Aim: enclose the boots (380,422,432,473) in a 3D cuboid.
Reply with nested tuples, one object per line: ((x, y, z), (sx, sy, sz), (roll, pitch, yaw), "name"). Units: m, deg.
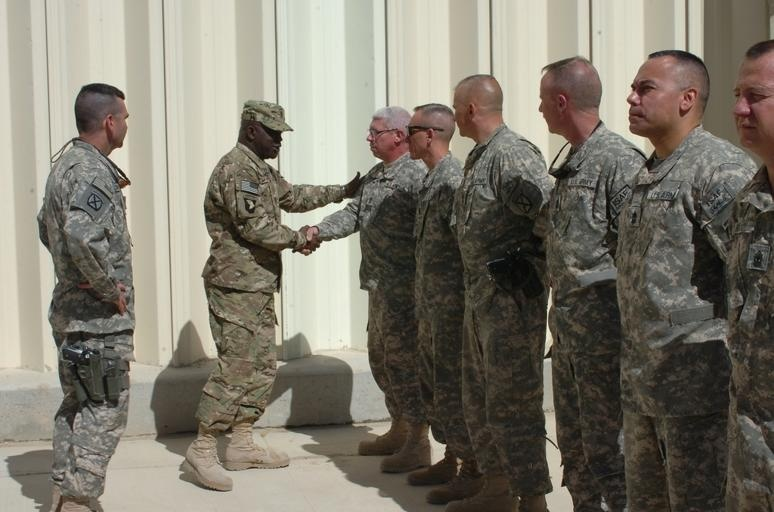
((0.155, 1.423, 8.241), (0.389, 0.376, 0.173), (-5, 2, -23), "boots")

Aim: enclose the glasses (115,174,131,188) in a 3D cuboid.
((-1.831, -0.514, 7.611), (0.110, 0.056, 0.150), (14, 5, -15), "glasses")

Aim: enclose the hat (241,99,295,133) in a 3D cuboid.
((-0.896, -1.063, 8.311), (0.317, 0.158, 0.242), (5, 3, -14), "hat")

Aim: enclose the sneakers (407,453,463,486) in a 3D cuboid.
((0.368, 1.577, 8.101), (0.428, 0.300, 0.171), (0, -1, -5), "sneakers")

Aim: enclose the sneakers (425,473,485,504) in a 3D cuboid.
((0.482, 1.641, 7.757), (0.452, 0.196, 0.156), (-9, 0, -6), "sneakers")

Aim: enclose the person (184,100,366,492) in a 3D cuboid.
((-1.088, 0.255, 8.188), (0.861, 2.384, 0.449), (-1, -1, -39), "person")

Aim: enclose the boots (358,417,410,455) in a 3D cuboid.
((0.011, 1.431, 8.626), (0.475, 0.323, 0.186), (0, -4, -2), "boots")

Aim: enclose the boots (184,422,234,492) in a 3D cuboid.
((-1.274, 1.469, 7.976), (0.502, 0.372, 0.181), (23, 12, 41), "boots")
